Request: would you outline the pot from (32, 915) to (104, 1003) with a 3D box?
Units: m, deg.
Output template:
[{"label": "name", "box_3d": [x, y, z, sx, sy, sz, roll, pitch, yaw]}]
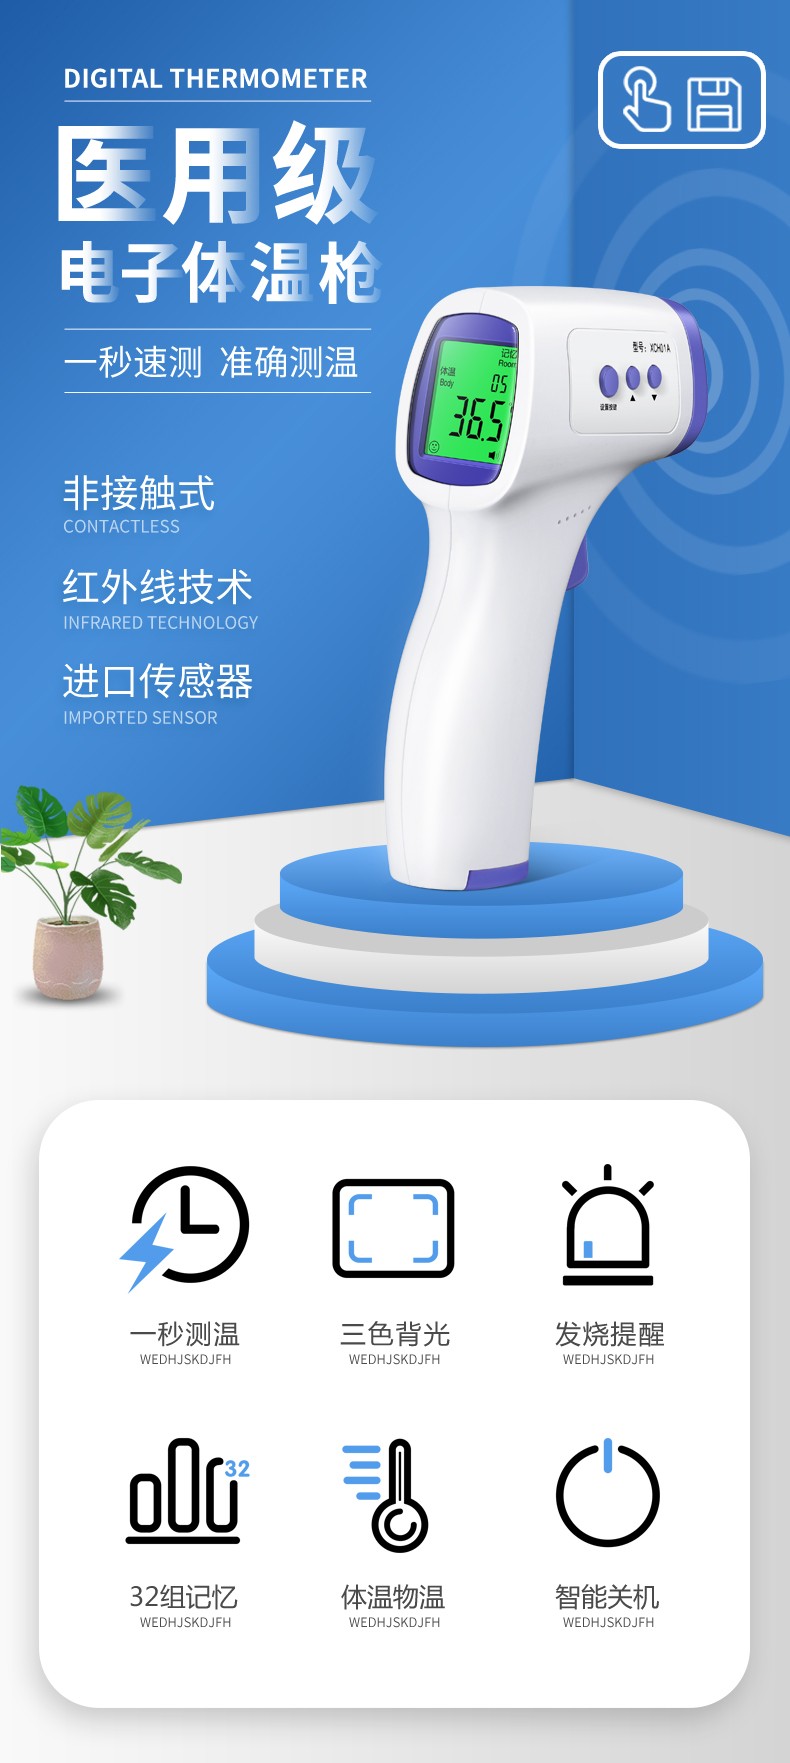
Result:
[{"label": "pot", "box_3d": [-0.313, 0.074, 1.485, 0.063, 0.076, 0.069, 3, 0, 0]}]
